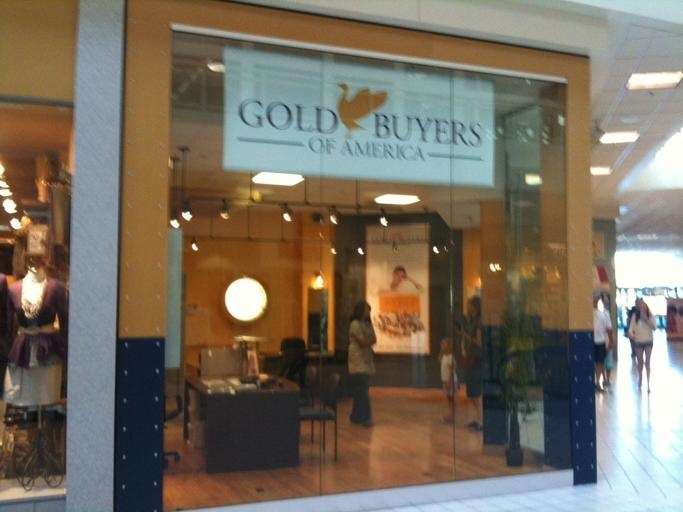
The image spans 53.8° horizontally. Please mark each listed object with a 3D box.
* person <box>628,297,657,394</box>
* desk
[{"bbox_3d":[5.659,1.637,12.674,0.462,1.666,1.941,-4,-6,23],"label":"person"},{"bbox_3d":[-0.935,1.603,6.625,0.876,0.738,1.252,1,-2,-15],"label":"desk"}]
